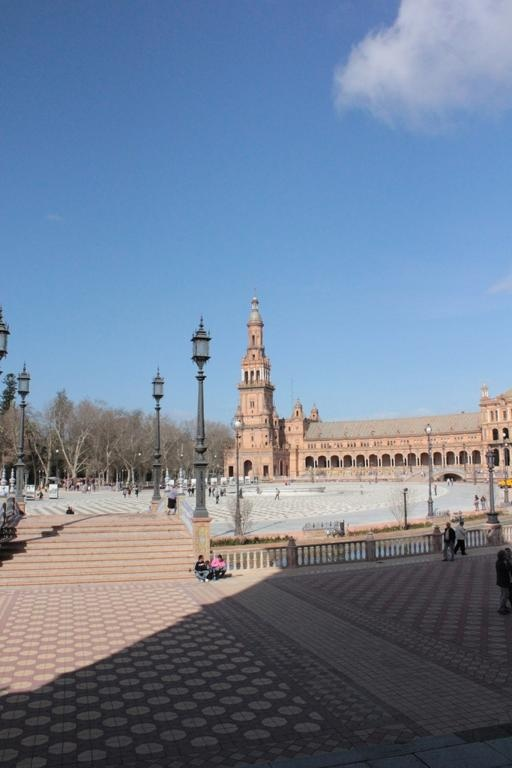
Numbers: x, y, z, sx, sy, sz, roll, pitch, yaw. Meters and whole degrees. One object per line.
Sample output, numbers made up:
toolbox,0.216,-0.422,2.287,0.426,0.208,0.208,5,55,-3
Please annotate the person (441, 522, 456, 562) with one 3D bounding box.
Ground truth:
person,5.656,4.589,19.808,0.321,1.065,1.109,-2,-7,16

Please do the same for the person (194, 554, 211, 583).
person,-1.265,4.452,16.163,0.470,0.783,0.382,-7,-6,7

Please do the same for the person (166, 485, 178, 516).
person,-3.024,4.208,24.277,0.321,0.874,1.301,1,-7,-8
